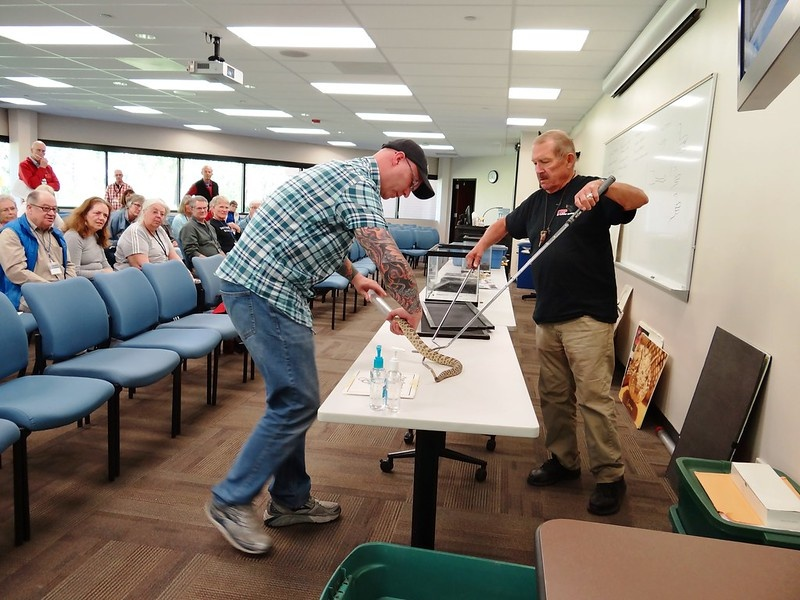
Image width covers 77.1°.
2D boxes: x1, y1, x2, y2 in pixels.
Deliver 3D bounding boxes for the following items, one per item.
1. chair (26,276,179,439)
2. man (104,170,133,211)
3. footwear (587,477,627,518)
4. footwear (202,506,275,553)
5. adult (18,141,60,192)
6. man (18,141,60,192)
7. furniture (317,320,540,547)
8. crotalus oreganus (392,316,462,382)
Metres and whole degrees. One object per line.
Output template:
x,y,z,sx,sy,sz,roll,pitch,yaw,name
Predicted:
-1.644,0.249,2.769,0.728,1.053,0.597,5,7,12,chair
-4.899,-1.678,8.783,0.469,1.118,0.293,0,1,-16,man
0.992,0.957,2.416,0.103,0.105,0.251,-3,-4,31,footwear
-0.661,0.958,2.060,0.231,0.107,0.092,38,1,-2,footwear
-5.259,-1.982,7.304,0.447,0.696,1.025,-7,16,-35,adult
-5.259,-1.982,7.304,0.447,0.696,1.025,-7,16,-35,man
0.120,0.675,1.952,0.650,0.863,0.838,4,13,7,furniture
0.076,0.174,1.888,0.132,0.042,0.381,-6,39,-42,crotalus oreganus
